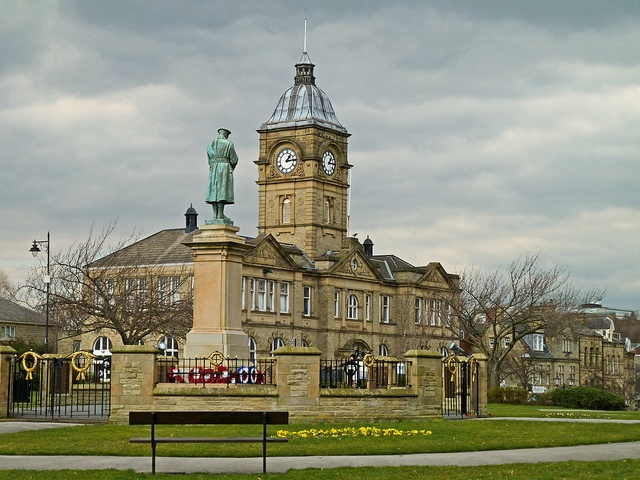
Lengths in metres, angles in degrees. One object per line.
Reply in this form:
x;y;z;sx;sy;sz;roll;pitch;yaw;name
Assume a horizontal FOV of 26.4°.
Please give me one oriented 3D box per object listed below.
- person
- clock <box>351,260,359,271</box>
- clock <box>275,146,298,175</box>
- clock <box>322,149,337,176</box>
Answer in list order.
-3.709;-2.356;52.757;1.220;3.771;1.288;-2;-11;14;person
2.688;1.917;98.853;0.181;0.828;0.808;-6;-11;24;clock
-2.309;-5.742;100.818;1.920;1.860;0.159;-10;-8;38;clock
0.828;-5.547;101.851;0.356;1.842;2.064;-5;-11;20;clock
